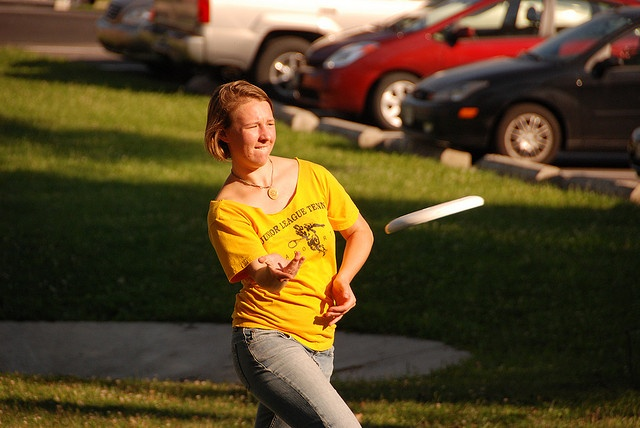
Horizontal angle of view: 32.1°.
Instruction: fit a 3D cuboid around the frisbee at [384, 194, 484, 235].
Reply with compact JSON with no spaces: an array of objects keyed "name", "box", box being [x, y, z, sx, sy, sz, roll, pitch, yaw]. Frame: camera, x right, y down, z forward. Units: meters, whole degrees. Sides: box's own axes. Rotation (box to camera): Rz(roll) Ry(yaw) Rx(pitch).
[{"name":"frisbee","box":[1.023,0.011,9.576,0.679,0.144,0.142,-24,0,-1]}]
